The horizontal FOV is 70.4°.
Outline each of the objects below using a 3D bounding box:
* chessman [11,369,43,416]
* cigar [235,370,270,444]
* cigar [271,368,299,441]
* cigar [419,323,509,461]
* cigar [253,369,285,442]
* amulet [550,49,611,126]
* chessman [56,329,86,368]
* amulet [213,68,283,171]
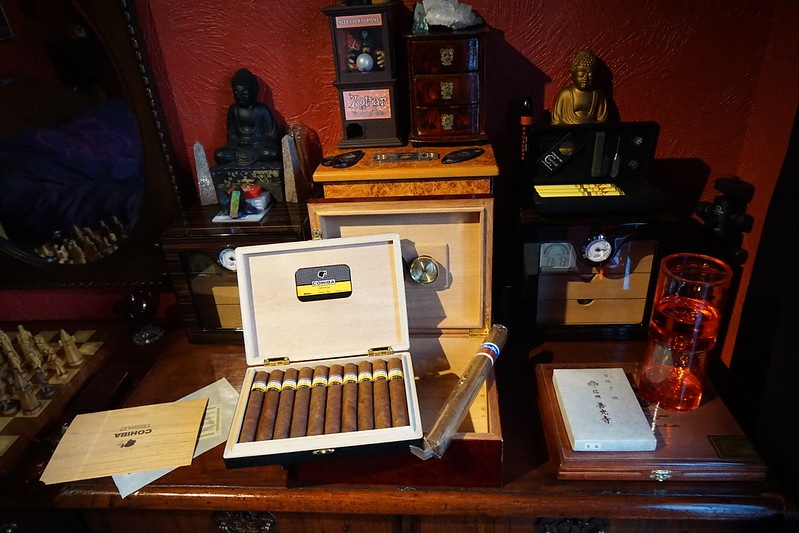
[{"bbox_3d":[-1.510,0.508,2.293,0.073,0.155,0.140,-20,28,-33],"label":"chessman"},{"bbox_3d":[-0.512,0.516,2.033,0.064,0.072,0.334,-29,28,12],"label":"cigar"},{"bbox_3d":[-0.403,0.491,2.016,0.047,0.043,0.211,4,39,8],"label":"cigar"},{"bbox_3d":[0.312,0.417,2.138,0.129,0.144,0.708,27,51,14],"label":"cigar"},{"bbox_3d":[-0.462,0.501,2.007,0.072,0.069,0.329,21,35,-19],"label":"cigar"},{"bbox_3d":[0.750,-0.710,2.348,0.255,0.331,0.182,-6,18,-11],"label":"amulet"},{"bbox_3d":[-1.465,0.372,2.533,0.084,0.179,0.071,-26,29,-4],"label":"chessman"},{"bbox_3d":[-0.623,-0.653,2.541,0.303,0.424,0.238,6,27,11],"label":"amulet"}]
